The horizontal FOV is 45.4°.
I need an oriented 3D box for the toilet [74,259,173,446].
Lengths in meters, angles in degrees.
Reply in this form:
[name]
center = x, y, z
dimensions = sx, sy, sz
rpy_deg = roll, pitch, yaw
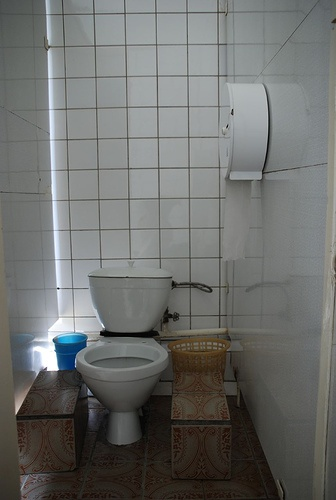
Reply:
[toilet]
center = -0.197, 0.457, 1.806
dimensions = 0.340, 0.683, 0.655
rpy_deg = 0, 6, 2

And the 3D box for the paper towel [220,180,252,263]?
[paper towel]
center = 0.297, -0.125, 1.754
dimensions = 0.102, 0.363, 0.273
rpy_deg = -1, 3, 4
